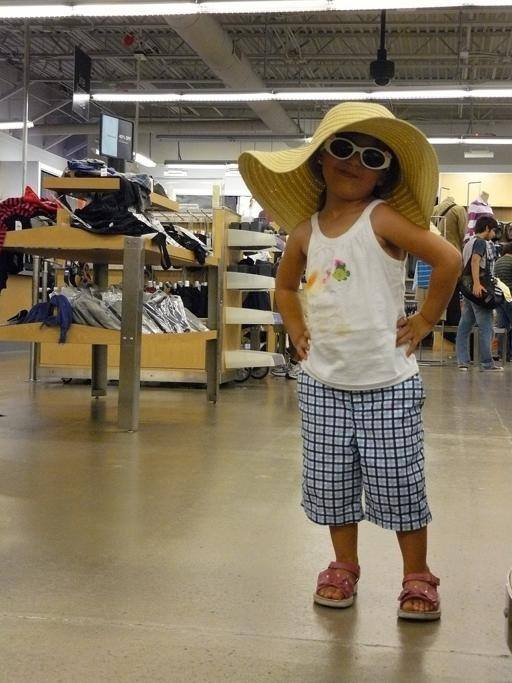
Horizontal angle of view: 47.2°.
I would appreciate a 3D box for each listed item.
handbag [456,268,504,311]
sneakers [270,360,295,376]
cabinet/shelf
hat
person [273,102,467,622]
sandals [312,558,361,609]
[{"bbox_3d":[2.475,-0.555,6.440,0.198,0.342,0.484,-29,-34,31],"label":"handbag"},{"bbox_3d":[0.312,0.282,5.923,0.326,0.130,0.099,-2,-12,44],"label":"sneakers"},{"bbox_3d":[-0.732,-0.176,3.329,0.897,1.190,1.385,0,-2,9],"label":"cabinet/shelf"},{"bbox_3d":[0.160,-0.328,1.104,0.317,0.192,0.350,13,-27,10],"label":"hat"},{"bbox_3d":[0.176,0.029,1.049,0.172,0.789,0.368,3,-3,-42],"label":"person"},{"bbox_3d":[0.132,0.401,0.966,0.061,0.047,0.103,0,-2,16],"label":"sandals"}]
